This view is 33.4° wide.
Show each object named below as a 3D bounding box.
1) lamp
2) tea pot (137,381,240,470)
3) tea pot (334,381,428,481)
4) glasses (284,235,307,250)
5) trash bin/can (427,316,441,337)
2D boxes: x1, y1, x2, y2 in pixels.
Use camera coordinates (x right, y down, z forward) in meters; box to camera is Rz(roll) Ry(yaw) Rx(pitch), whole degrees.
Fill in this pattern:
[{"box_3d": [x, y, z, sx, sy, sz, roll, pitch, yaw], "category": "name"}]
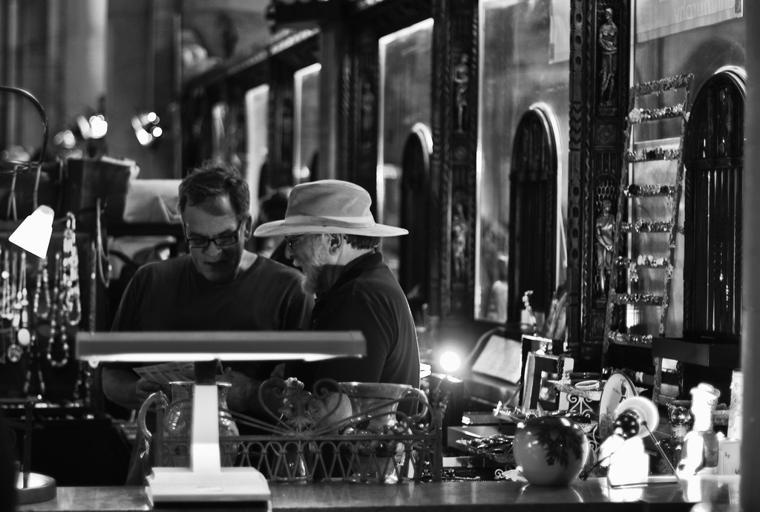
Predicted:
[{"box_3d": [-0.726, 0.582, 5.552, 0.905, 0.604, 0.925, 0, -1, -9], "category": "lamp"}, {"box_3d": [-0.915, 0.796, 6.100, 0.363, 0.468, 0.517, 1, 1, -19], "category": "tea pot"}, {"box_3d": [0.003, 0.873, 6.184, 0.518, 0.519, 0.412, 0, -13, 2], "category": "tea pot"}, {"box_3d": [-0.425, -0.063, 6.487, 0.064, 0.043, 0.084, 3, -5, -27], "category": "glasses"}, {"box_3d": [0.410, 0.539, 9.817, 0.120, 0.227, 0.120, -1, -1, 9], "category": "trash bin/can"}]
